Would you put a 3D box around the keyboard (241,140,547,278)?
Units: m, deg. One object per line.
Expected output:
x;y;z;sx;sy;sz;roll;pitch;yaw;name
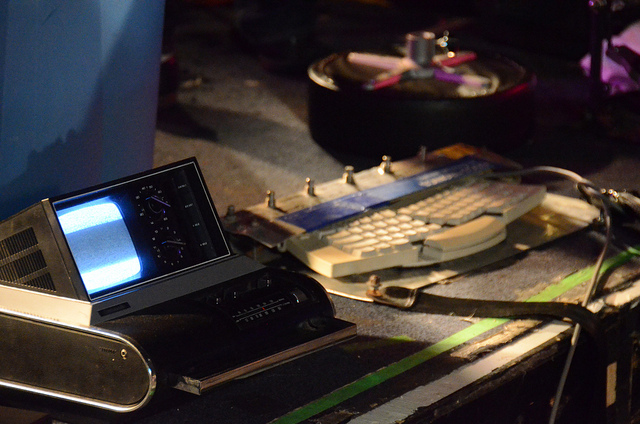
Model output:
0.232;-0.014;1.622;0.749;0.173;0.379;-23;42;-19;keyboard

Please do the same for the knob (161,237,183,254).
-0.281;0.062;1.216;0.019;0.024;0.032;22;49;30;knob

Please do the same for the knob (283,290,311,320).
-0.040;0.175;1.219;0.037;0.024;0.062;-22;42;-16;knob

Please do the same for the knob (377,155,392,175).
0.168;-0.125;1.719;0.014;0.049;0.037;-12;30;-37;knob
